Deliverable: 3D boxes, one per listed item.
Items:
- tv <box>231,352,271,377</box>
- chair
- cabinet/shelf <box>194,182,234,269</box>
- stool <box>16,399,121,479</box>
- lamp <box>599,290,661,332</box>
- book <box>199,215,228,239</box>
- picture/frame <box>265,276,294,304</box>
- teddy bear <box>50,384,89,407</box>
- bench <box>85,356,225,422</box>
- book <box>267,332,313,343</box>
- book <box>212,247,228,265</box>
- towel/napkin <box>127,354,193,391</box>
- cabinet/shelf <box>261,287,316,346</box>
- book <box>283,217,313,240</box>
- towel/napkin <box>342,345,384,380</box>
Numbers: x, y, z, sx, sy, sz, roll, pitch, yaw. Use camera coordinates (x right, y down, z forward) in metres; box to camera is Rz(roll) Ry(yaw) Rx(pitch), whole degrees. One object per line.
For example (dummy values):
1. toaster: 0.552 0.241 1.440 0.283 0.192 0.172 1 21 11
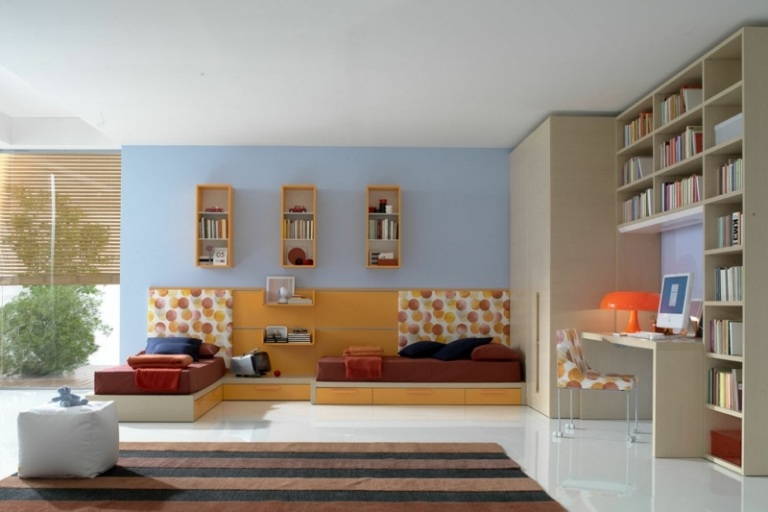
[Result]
1. tv: -1.864 1.501 8.423 0.528 0.336 0.363 -2 -9 0
2. chair: 2.285 1.417 6.957 1.261 1.488 1.169 -3 -8 19
3. cabinet/shelf: -2.405 -0.407 8.637 0.536 1.102 0.289 1 -4 -1
4. stool: -2.925 1.661 5.757 0.756 0.566 0.714 -1 -5 3
5. lamp: 2.949 0.667 7.253 0.580 0.361 0.546 2 -4 -17
6. book: -2.404 -0.371 8.841 0.530 0.450 0.333 0 -3 -4
7. picture/frame: -1.516 0.489 8.724 0.430 0.382 0.030 0 -2 -3
8. teddy bear: -2.987 1.326 5.781 0.252 0.162 0.255 -5 -6 18
9. bench: -2.891 1.679 7.480 1.294 0.596 0.467 0 3 -7
10. book: -1.363 1.147 8.624 0.696 0.138 0.180 0 3 -3
11. book: -2.349 0.005 8.708 0.268 0.309 0.109 0 -17 0
12. towel/napkin: -2.762 1.398 7.493 0.508 0.239 0.513 0 1 -1
13. cabinet/shelf: -1.383 0.895 8.689 0.909 0.746 0.285 0 -8 -1
14. book: -1.228 -0.385 8.720 0.420 0.266 0.159 0 4 -14
15. towel/napkin: -0.275 1.446 8.240 0.518 0.401 0.267 1 3 -1
